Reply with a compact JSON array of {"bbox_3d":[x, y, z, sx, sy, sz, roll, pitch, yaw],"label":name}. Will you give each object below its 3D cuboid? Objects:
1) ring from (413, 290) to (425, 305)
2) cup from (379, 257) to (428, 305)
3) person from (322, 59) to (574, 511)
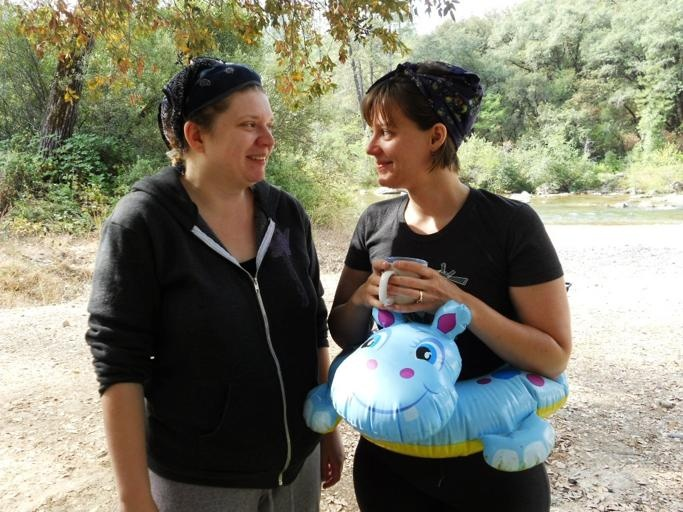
[{"bbox_3d":[0.351,0.206,2.337,0.017,0.044,0.047,26,-44,-16],"label":"ring"},{"bbox_3d":[0.287,0.139,2.386,0.199,0.200,0.161,1,9,20],"label":"cup"},{"bbox_3d":[0.491,0.209,2.527,1.161,2.132,0.586,1,9,22],"label":"person"}]
